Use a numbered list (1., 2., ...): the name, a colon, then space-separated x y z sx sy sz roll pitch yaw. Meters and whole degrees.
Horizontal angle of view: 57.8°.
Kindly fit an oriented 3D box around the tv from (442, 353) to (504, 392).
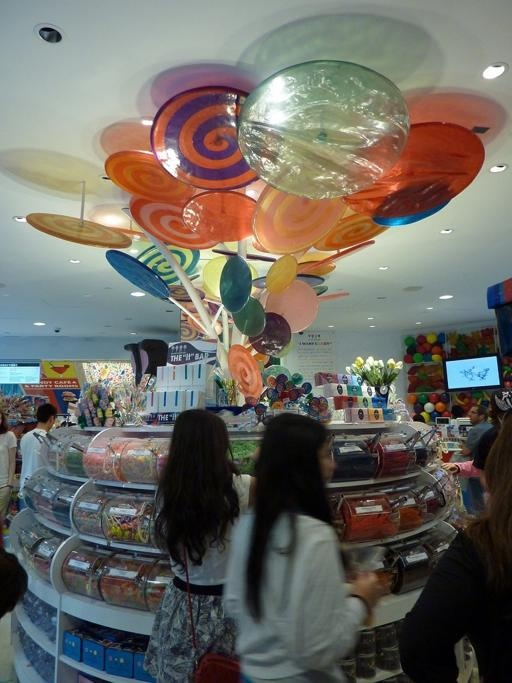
1. tv: 3.946 0.575 8.377 1.127 0.647 0.122 -9 -19 44
